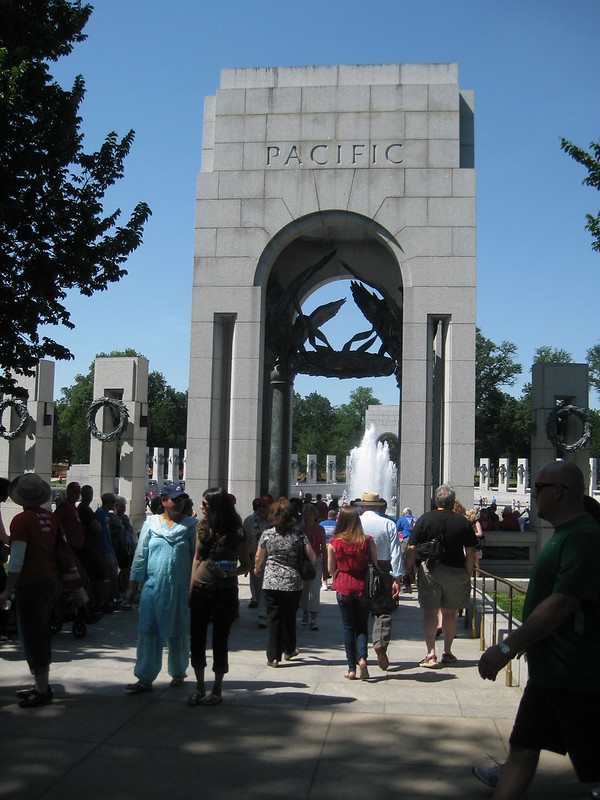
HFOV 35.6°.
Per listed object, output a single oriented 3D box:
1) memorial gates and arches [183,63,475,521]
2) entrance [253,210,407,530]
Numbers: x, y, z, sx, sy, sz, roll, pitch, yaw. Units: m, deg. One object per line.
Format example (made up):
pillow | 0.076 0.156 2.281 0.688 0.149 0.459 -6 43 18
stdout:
memorial gates and arches | 0.616 -2.085 17.206 4.978 8.041 4.217 1 -4 8
entrance | 0.702 -0.529 20.119 2.817 6.181 0.765 4 12 -6
